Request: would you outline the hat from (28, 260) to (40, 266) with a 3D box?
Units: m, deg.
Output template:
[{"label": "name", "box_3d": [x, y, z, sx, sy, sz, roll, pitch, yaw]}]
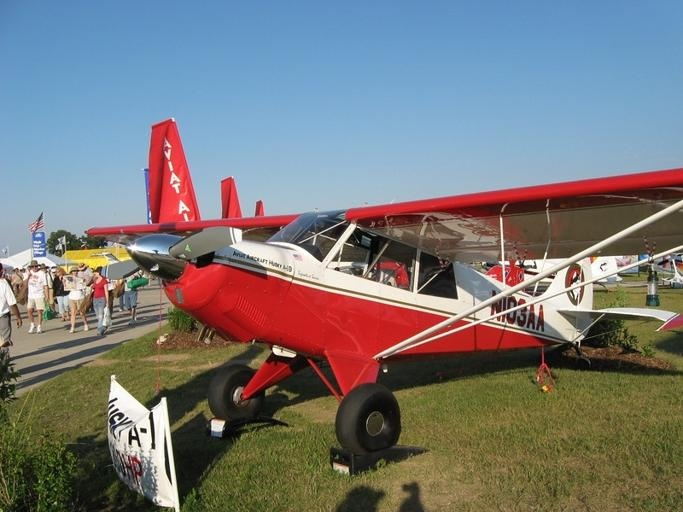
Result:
[{"label": "hat", "box_3d": [-8.728, 0.177, 13.345, 0.249, 0.100, 0.221, 3, 8, 11]}]
